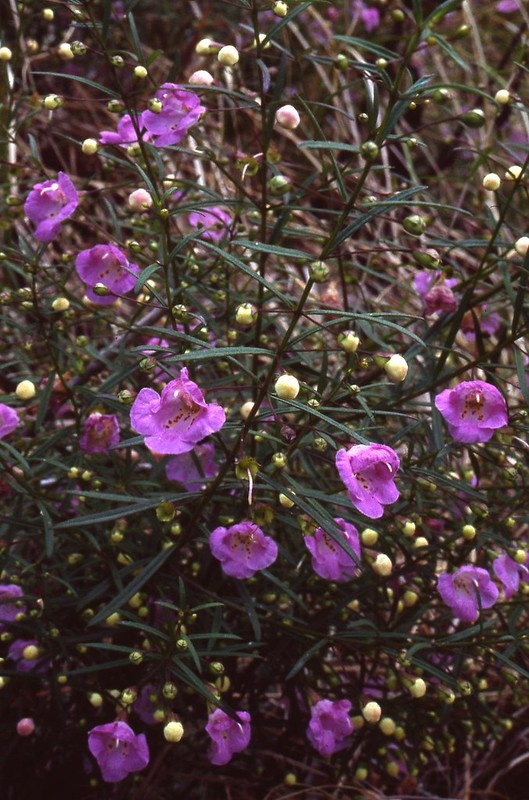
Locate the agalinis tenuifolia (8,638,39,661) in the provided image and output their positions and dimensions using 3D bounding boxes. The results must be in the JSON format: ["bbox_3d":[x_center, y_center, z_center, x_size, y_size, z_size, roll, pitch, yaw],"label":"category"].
[{"bbox_3d":[-0.450,0.463,1.472,0.068,0.046,0.024,-4,2,15],"label":"agalinis tenuifolia"}]

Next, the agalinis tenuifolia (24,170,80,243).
[{"bbox_3d":[-0.385,-0.348,1.417,0.078,0.150,0.127,-1,44,-22],"label":"agalinis tenuifolia"}]

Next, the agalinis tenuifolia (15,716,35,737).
[{"bbox_3d":[-0.425,0.580,1.410,0.029,0.059,0.037,6,43,-14],"label":"agalinis tenuifolia"}]

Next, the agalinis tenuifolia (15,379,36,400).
[{"bbox_3d":[-0.438,-0.020,1.450,0.034,0.033,0.033,43,0,-9],"label":"agalinis tenuifolia"}]

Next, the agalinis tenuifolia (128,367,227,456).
[{"bbox_3d":[-0.133,0.031,1.244,0.138,0.135,0.061,23,2,37],"label":"agalinis tenuifolia"}]

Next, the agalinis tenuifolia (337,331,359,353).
[{"bbox_3d":[0.131,-0.091,1.225,0.031,0.029,0.036,-3,-1,1],"label":"agalinis tenuifolia"}]

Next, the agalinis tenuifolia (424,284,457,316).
[{"bbox_3d":[0.373,-0.213,1.639,0.060,0.067,0.021,18,46,13],"label":"agalinis tenuifolia"}]

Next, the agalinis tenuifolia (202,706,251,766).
[{"bbox_3d":[-0.069,0.554,1.328,0.081,0.086,0.035,-35,17,-37],"label":"agalinis tenuifolia"}]

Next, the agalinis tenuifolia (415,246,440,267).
[{"bbox_3d":[0.293,-0.252,1.401,0.029,0.034,0.045,-13,-2,2],"label":"agalinis tenuifolia"}]

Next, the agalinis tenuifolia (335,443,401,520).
[{"bbox_3d":[0.148,0.123,1.268,0.117,0.118,0.050,-22,21,-25],"label":"agalinis tenuifolia"}]

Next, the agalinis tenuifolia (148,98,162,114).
[{"bbox_3d":[-0.194,-0.527,1.424,0.029,0.023,0.023,18,40,-9],"label":"agalinis tenuifolia"}]

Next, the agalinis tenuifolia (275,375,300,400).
[{"bbox_3d":[0.034,-0.020,1.207,0.031,0.032,0.027,-21,48,-12],"label":"agalinis tenuifolia"}]

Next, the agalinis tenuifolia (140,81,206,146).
[{"bbox_3d":[-0.170,-0.508,1.428,0.082,0.107,0.143,-12,48,-30],"label":"agalinis tenuifolia"}]

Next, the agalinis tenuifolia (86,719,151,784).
[{"bbox_3d":[-0.222,0.560,1.284,0.094,0.038,0.097,37,-5,7],"label":"agalinis tenuifolia"}]

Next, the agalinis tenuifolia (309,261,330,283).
[{"bbox_3d":[0.078,-0.185,1.170,0.035,0.037,0.033,-10,1,1],"label":"agalinis tenuifolia"}]

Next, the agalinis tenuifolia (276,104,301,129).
[{"bbox_3d":[0.039,-0.544,1.506,0.048,0.050,0.030,-11,-2,-35],"label":"agalinis tenuifolia"}]

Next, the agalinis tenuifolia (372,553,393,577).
[{"bbox_3d":[0.215,0.306,1.469,0.031,0.048,0.037,-14,30,5],"label":"agalinis tenuifolia"}]

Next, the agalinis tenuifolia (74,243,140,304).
[{"bbox_3d":[-0.286,-0.241,1.487,0.121,0.113,0.058,-11,15,13],"label":"agalinis tenuifolia"}]
